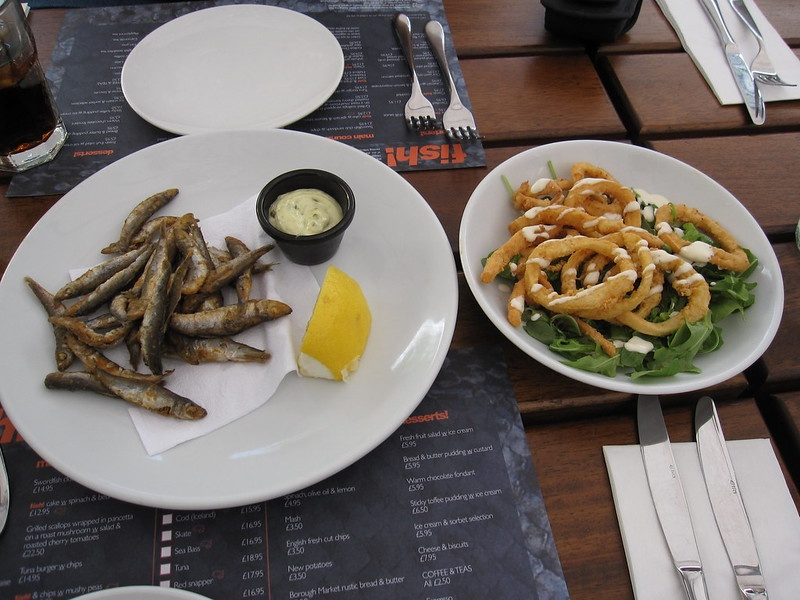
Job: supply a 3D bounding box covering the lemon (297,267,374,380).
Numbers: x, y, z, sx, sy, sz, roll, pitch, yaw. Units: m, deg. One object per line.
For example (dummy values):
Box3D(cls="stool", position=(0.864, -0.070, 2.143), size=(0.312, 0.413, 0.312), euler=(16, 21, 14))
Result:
Box3D(cls="lemon", position=(-0.183, 0.038, 1.728), size=(0.198, 0.171, 0.343), euler=(7, 65, -5))
